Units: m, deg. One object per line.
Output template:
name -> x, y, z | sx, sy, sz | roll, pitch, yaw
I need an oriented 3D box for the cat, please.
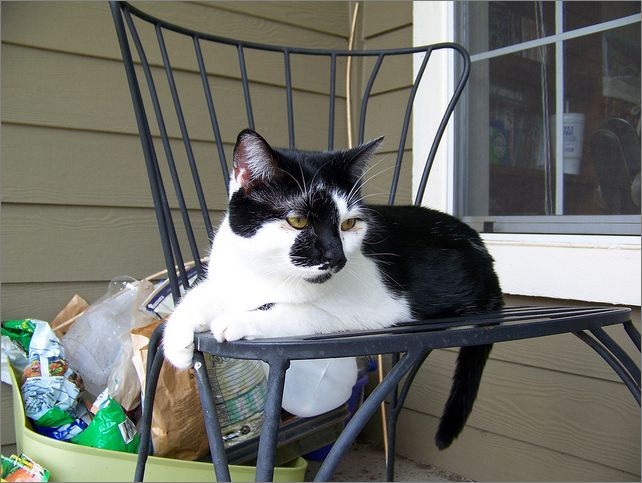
cat -> 0.054, 0.001, 1.309 | 0.871, 0.515, 0.342 | -1, 13, -22

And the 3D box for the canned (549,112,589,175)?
canned -> 0.833, -0.321, 1.768 | 0.052, 0.166, 0.120 | 3, 2, 36
